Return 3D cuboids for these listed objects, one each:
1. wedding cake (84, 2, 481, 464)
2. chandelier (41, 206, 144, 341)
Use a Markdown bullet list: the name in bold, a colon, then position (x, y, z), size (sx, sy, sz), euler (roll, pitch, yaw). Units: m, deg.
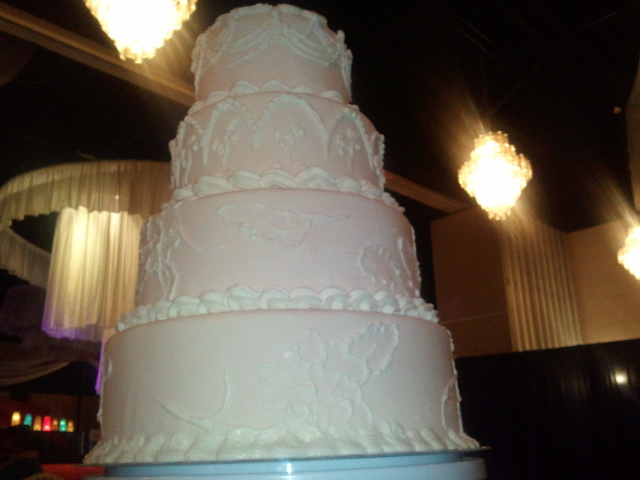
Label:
- **wedding cake**: position (-0.190, 0.156, 3.249), size (1.526, 3.077, 1.176), euler (6, -15, -4)
- **chandelier**: position (-2.609, 0.347, 6.166), size (0.808, 1.967, 1.362), euler (5, -10, -38)
